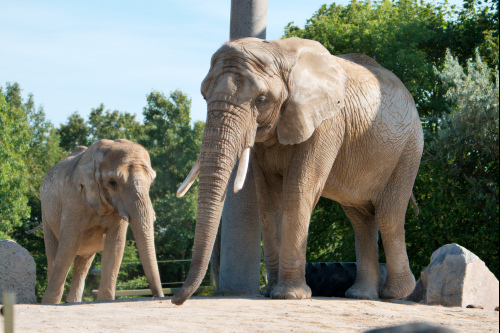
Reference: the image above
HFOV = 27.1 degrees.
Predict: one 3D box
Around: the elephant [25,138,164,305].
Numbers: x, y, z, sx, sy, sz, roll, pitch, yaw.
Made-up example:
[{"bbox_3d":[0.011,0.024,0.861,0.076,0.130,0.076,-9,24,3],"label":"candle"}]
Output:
[{"bbox_3d":[-4.652,1.777,29.420,2.424,4.684,7.281,3,-6,-35],"label":"elephant"}]
